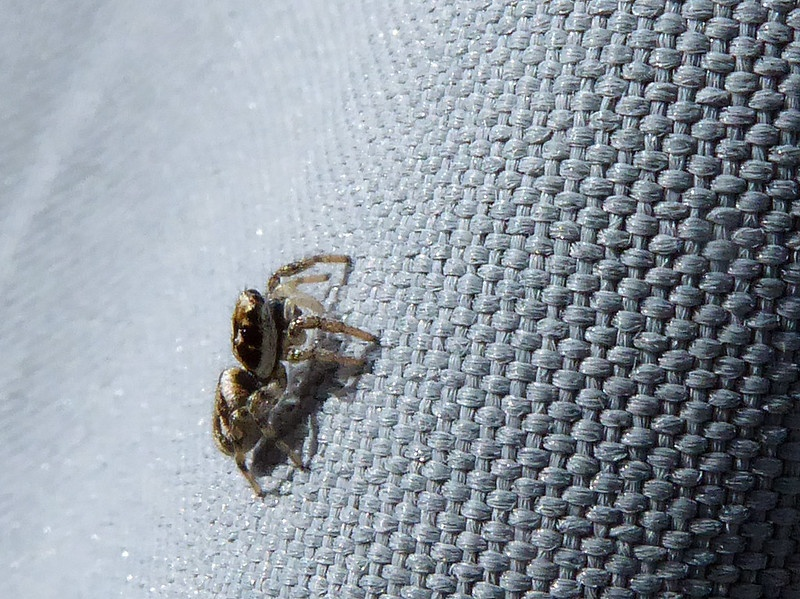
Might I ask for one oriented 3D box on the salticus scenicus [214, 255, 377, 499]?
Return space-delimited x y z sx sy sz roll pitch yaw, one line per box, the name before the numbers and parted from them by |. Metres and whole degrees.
salticus scenicus | -0.135 0.076 1.256 0.230 0.094 0.184 -63 32 13
